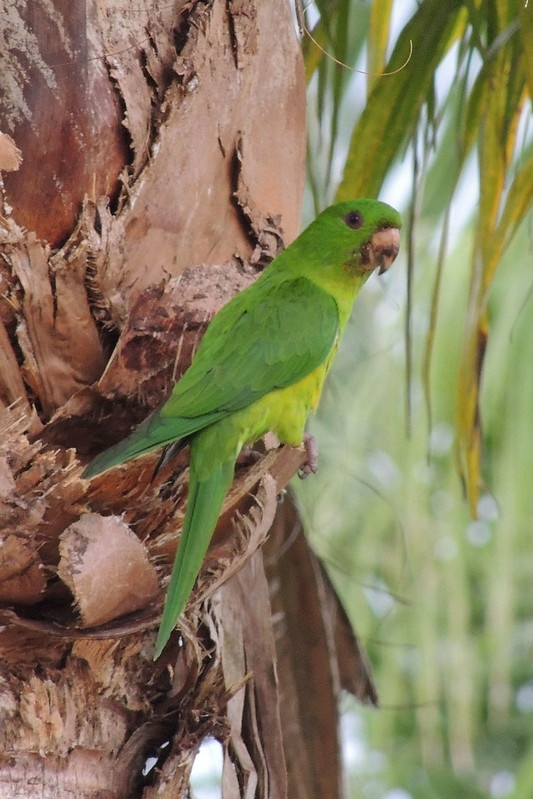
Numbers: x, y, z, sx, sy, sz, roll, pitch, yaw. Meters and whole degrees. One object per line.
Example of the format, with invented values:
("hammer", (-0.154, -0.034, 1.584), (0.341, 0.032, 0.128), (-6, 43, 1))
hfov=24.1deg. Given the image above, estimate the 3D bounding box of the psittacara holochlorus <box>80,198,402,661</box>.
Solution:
("psittacara holochlorus", (-0.018, 0.009, 2.665), (0.283, 1.118, 0.755), (1, -13, 30))
